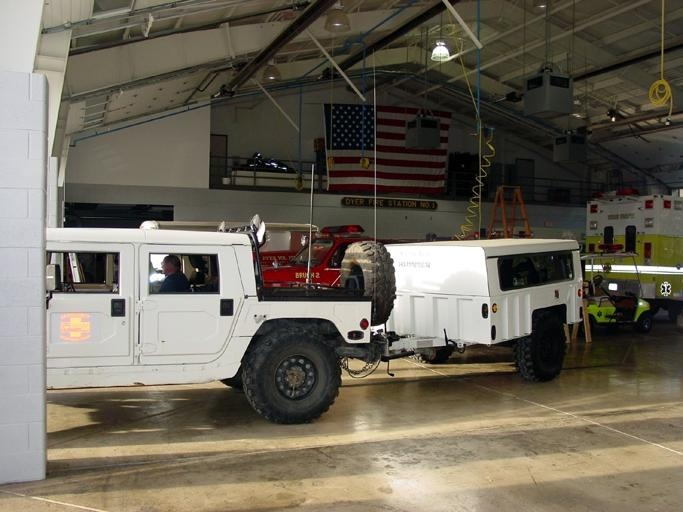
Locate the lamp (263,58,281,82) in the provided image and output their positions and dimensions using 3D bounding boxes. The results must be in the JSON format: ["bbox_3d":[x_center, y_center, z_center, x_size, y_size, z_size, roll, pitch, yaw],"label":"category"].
[{"bbox_3d":[-1.797,-4.770,15.861,0.411,0.479,0.711,0,5,-7],"label":"lamp"}]
